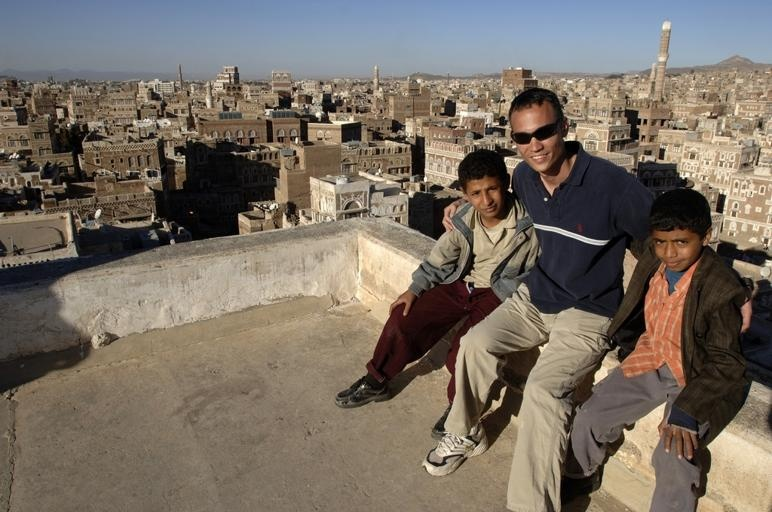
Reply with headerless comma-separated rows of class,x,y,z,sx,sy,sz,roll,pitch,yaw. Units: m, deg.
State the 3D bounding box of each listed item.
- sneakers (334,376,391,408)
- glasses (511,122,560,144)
sneakers,-0.133,0.816,2.894,0.365,0.172,0.142,-13,59,-8
glasses,0.780,-0.645,2.523,0.245,0.113,0.141,9,15,25
